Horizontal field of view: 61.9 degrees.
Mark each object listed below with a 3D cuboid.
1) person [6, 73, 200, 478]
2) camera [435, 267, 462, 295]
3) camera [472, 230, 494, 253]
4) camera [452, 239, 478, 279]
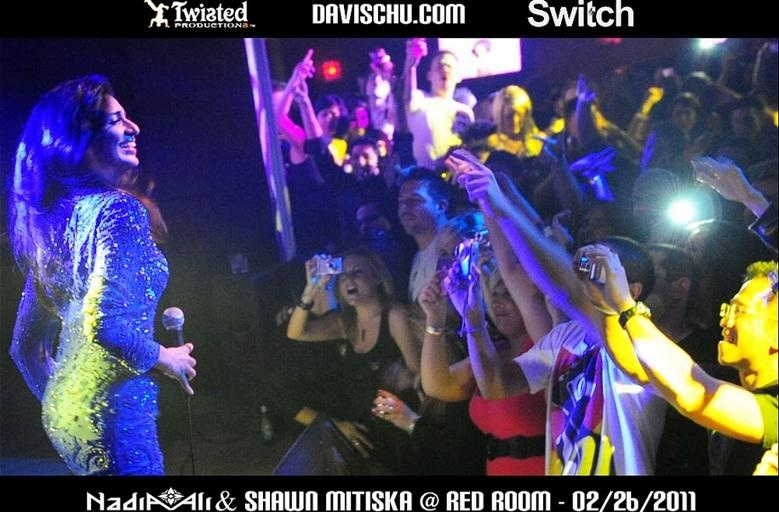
[{"bbox_3d":[-2.287,0.173,4.843,1.343,2.945,0.945,-8,17,-8],"label":"person"},{"bbox_3d":[0.437,0.175,4.696,0.225,0.199,0.055,-6,0,6],"label":"camera"},{"bbox_3d":[0.676,-0.108,4.672,0.116,0.146,0.057,-6,-1,13],"label":"camera"},{"bbox_3d":[0.555,0.020,4.728,0.181,0.275,0.071,9,4,6],"label":"camera"}]
